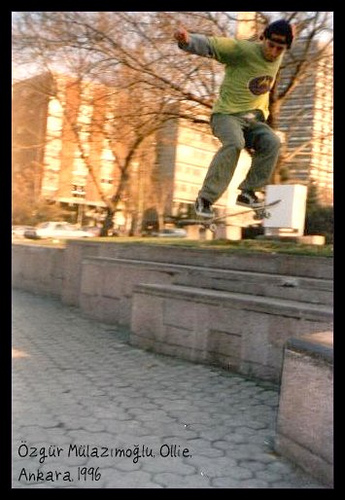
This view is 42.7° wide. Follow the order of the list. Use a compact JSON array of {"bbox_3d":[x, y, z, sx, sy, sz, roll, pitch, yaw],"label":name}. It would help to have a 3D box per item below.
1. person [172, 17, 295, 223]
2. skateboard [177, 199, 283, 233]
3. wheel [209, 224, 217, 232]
[{"bbox_3d":[0.573,-1.253,3.723,0.800,1.446,1.779,4,-1,14],"label":"person"},{"bbox_3d":[0.496,-0.354,4.556,0.496,0.278,1.114,5,-2,-44],"label":"skateboard"},{"bbox_3d":[0.427,-0.240,4.661,0.085,0.071,0.019,6,-2,4],"label":"wheel"}]
